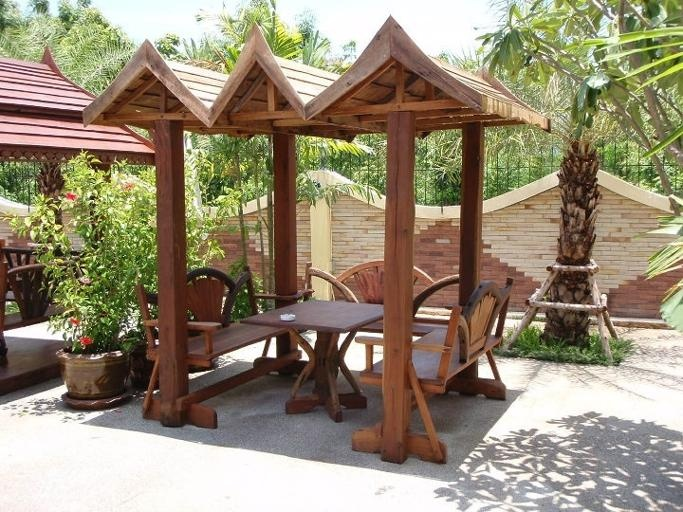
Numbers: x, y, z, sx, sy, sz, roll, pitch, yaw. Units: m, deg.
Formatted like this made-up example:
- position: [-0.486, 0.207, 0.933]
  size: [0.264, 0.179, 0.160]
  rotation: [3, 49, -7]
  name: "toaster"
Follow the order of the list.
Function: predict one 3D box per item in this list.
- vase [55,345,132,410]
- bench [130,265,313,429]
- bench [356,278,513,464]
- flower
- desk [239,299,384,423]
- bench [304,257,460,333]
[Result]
- position: [-2.647, 1.283, 5.671]
  size: [0.693, 0.561, 0.730]
  rotation: [-1, 3, 3]
  name: "vase"
- position: [-1.243, 0.864, 6.017]
  size: [0.870, 1.500, 2.300]
  rotation: [-2, 2, 17]
  name: "bench"
- position: [1.042, 0.965, 5.243]
  size: [0.829, 1.335, 2.283]
  rotation: [4, 4, 29]
  name: "bench"
- position: [-2.598, -0.165, 5.930]
  size: [1.098, 1.653, 1.079]
  rotation: [0, -1, -36]
  name: "flower"
- position: [-0.164, 1.107, 5.487]
  size: [1.178, 1.035, 1.504]
  rotation: [0, 0, 31]
  name: "desk"
- position: [0.500, 0.605, 6.628]
  size: [2.023, 1.059, 0.688]
  rotation: [7, 7, 6]
  name: "bench"
